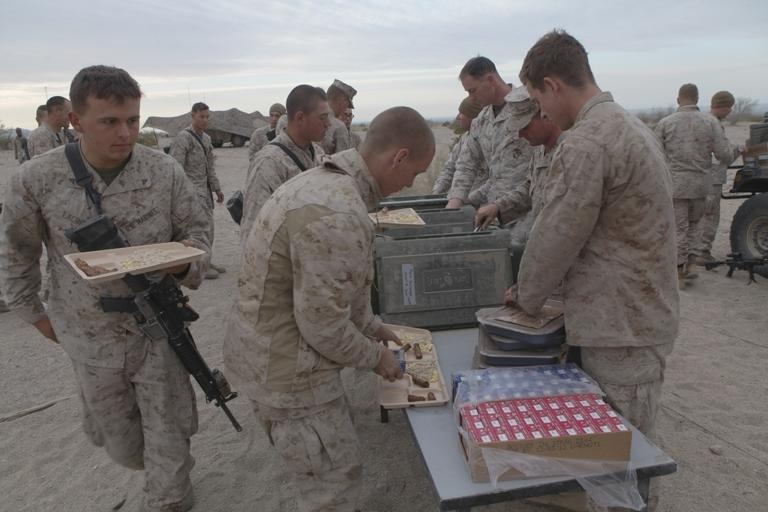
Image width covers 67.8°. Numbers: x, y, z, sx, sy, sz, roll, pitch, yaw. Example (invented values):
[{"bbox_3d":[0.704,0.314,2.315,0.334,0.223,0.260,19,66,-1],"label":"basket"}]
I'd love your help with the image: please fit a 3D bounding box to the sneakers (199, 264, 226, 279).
[{"bbox_3d":[-2.013,0.184,6.683,0.140,0.168,0.440,-15,-4,-23],"label":"sneakers"}]
